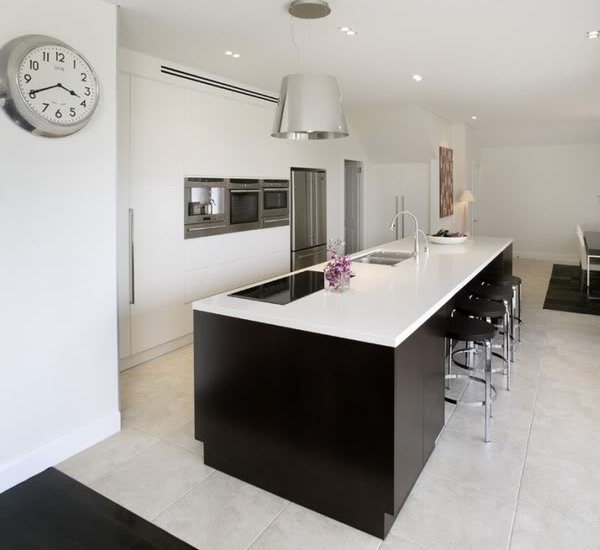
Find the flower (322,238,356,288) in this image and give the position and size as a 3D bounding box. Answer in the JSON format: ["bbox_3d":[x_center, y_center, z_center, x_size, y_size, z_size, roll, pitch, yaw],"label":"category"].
[{"bbox_3d":[0.248,-0.073,3.148,0.191,0.333,0.405,0,11,5],"label":"flower"}]

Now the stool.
[{"bbox_3d":[1.404,0.516,3.855,0.626,1.416,0.734,3,6,32],"label":"stool"}]

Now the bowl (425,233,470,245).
[{"bbox_3d":[1.617,-0.398,5.448,0.415,0.126,0.398,-1,11,0],"label":"bowl"}]
